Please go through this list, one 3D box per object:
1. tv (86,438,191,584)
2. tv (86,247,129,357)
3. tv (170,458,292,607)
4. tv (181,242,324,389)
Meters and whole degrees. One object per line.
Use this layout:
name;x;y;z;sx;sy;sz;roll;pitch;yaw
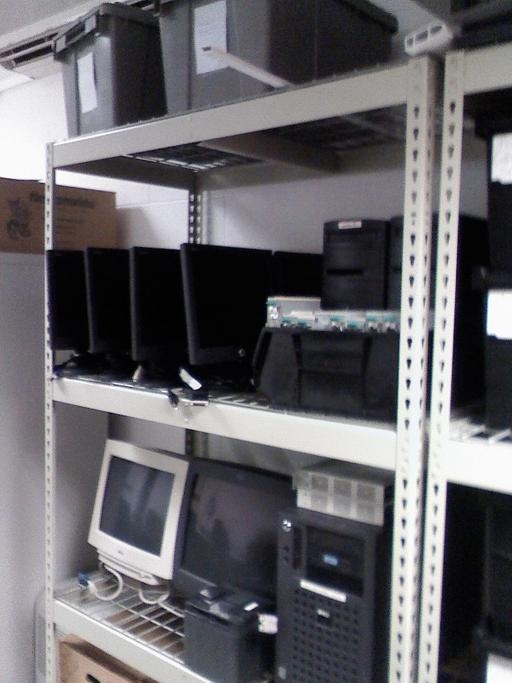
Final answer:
tv;-0.277;0.413;1.580;0.170;0.425;0.342;0;4;-38
tv;-0.337;-0.097;1.497;0.024;0.313;0.188;3;4;29
tv;-0.049;0.394;1.331;0.125;0.272;0.228;13;-8;-43
tv;-0.017;-0.042;1.242;0.078;0.224;0.250;1;0;38
